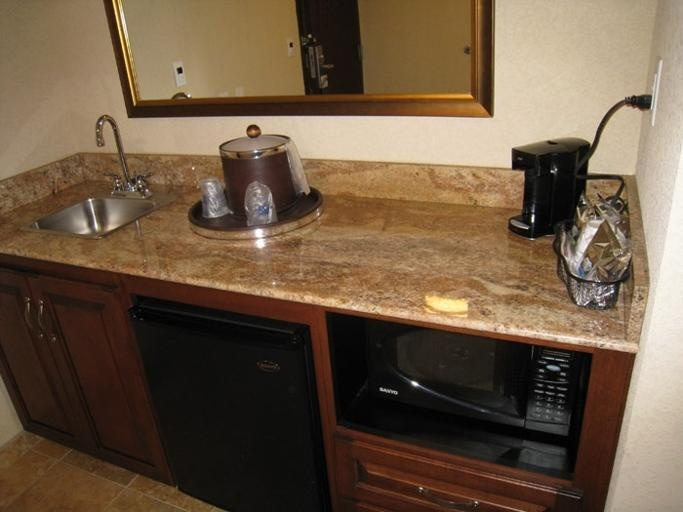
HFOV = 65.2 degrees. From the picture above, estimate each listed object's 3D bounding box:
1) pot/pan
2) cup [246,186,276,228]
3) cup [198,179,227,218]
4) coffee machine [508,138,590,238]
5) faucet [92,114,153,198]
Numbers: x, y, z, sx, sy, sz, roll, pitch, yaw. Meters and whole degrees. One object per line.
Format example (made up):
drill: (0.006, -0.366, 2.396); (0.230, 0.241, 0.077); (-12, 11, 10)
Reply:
pot/pan: (-0.250, -0.353, 2.133); (0.276, 0.322, 0.365); (2, 24, 13)
cup: (-0.304, -0.192, 1.974); (0.112, 0.152, 0.089); (-9, 23, -9)
cup: (-0.507, -0.225, 2.103); (0.142, 0.140, 0.130); (-2, 22, 1)
coffee machine: (0.699, -0.229, 1.814); (0.236, 0.311, 0.196); (5, 25, 21)
faucet: (-1.018, -0.479, 2.479); (0.174, 0.369, 0.459); (-13, 24, -18)
